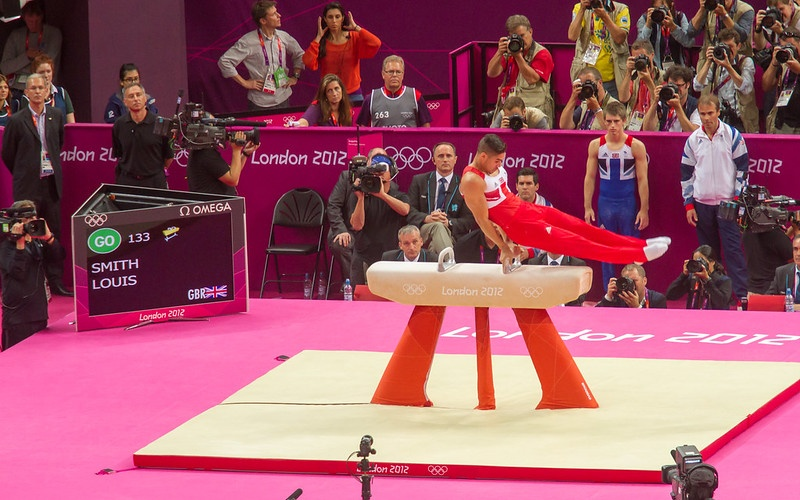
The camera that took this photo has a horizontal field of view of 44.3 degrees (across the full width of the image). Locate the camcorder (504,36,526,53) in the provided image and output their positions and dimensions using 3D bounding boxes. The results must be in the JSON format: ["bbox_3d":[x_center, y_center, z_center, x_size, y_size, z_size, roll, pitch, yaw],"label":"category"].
[{"bbox_3d":[1.403,-2.479,11.865,0.183,0.133,0.210,10,19,6],"label":"camcorder"}]

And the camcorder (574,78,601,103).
[{"bbox_3d":[2.235,-1.883,11.681,0.214,0.156,0.248,-4,8,19],"label":"camcorder"}]

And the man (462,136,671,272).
[{"bbox_3d":[1.354,-0.375,8.327,1.823,1.031,0.755,7,9,18],"label":"man"}]

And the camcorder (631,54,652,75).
[{"bbox_3d":[2.913,-2.238,11.849,0.187,0.138,0.217,-3,12,19],"label":"camcorder"}]

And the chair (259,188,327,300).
[{"bbox_3d":[-1.295,-0.040,12.067,0.830,1.356,0.925,7,11,34],"label":"chair"}]

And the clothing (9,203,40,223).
[{"bbox_3d":[-3.797,-0.397,9.990,0.267,0.225,0.199,-2,12,-8],"label":"clothing"}]

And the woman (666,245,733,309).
[{"bbox_3d":[3.290,0.507,10.868,0.601,1.038,0.536,7,-10,23],"label":"woman"}]

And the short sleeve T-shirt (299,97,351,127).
[{"bbox_3d":[-0.916,-1.720,12.327,0.506,0.289,0.143,-3,-3,-1],"label":"short sleeve T-shirt"}]

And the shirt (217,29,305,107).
[{"bbox_3d":[-1.801,-2.503,13.369,1.247,1.068,0.405,-16,30,-29],"label":"shirt"}]

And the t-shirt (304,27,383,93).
[{"bbox_3d":[-0.751,-2.494,13.026,0.983,1.168,0.603,-3,5,4],"label":"t-shirt"}]

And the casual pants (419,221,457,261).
[{"bbox_3d":[0.395,-0.132,11.136,0.259,0.463,0.150,-1,43,24],"label":"casual pants"}]

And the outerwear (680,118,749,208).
[{"bbox_3d":[3.615,-0.957,11.277,0.908,1.298,0.630,1,9,22],"label":"outerwear"}]

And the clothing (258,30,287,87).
[{"bbox_3d":[-1.681,-2.525,13.161,0.329,0.834,0.148,-19,44,-20],"label":"clothing"}]

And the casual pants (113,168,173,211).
[{"bbox_3d":[-2.780,-0.647,10.601,0.538,0.803,0.328,-1,2,-5],"label":"casual pants"}]

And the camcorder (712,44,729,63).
[{"bbox_3d":[3.852,-2.349,11.790,0.173,0.131,0.198,1,-3,11],"label":"camcorder"}]

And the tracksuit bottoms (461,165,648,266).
[{"bbox_3d":[1.332,-0.257,8.519,1.589,0.654,0.724,16,35,9],"label":"tracksuit bottoms"}]

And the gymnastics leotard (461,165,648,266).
[{"bbox_3d":[1.343,-0.249,8.522,1.589,0.654,0.724,16,35,9],"label":"gymnastics leotard"}]

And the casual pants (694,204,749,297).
[{"bbox_3d":[3.820,-0.074,11.544,0.518,1.579,0.434,11,36,35],"label":"casual pants"}]

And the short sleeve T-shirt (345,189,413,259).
[{"bbox_3d":[-0.274,-0.209,11.574,0.609,1.071,0.540,4,4,-15],"label":"short sleeve T-shirt"}]

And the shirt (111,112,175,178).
[{"bbox_3d":[-3.084,-1.286,11.758,0.765,0.773,0.449,7,22,4],"label":"shirt"}]

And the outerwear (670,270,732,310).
[{"bbox_3d":[3.286,0.500,10.831,0.438,0.561,0.307,-4,-9,21],"label":"outerwear"}]

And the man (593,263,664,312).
[{"bbox_3d":[2.416,0.320,10.493,0.486,0.325,0.664,-6,23,18],"label":"man"}]

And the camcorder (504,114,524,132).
[{"bbox_3d":[1.380,-1.518,11.774,0.201,0.094,0.237,3,-2,5],"label":"camcorder"}]

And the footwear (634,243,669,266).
[{"bbox_3d":[2.169,-0.004,8.290,0.191,0.217,0.300,3,11,19],"label":"footwear"}]

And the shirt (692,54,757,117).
[{"bbox_3d":[4.144,-2.069,12.503,0.650,0.905,0.590,12,32,36],"label":"shirt"}]

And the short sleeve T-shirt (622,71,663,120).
[{"bbox_3d":[3.026,-1.953,12.390,0.413,0.620,0.181,9,19,37],"label":"short sleeve T-shirt"}]

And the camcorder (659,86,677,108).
[{"bbox_3d":[3.206,-1.843,11.722,0.185,0.134,0.212,-2,14,19],"label":"camcorder"}]
